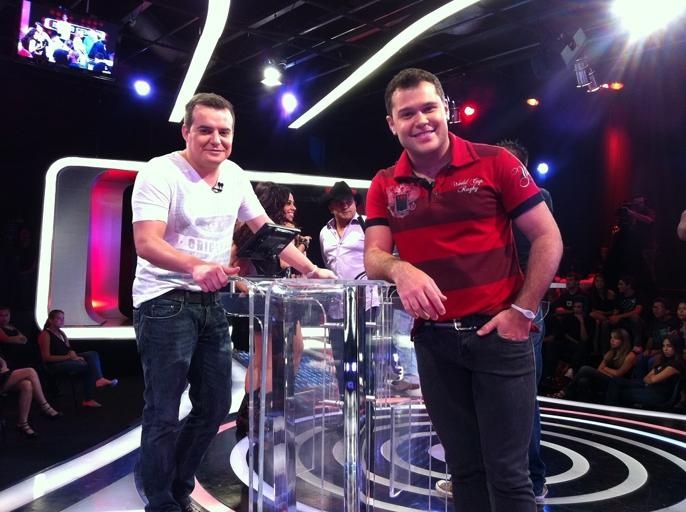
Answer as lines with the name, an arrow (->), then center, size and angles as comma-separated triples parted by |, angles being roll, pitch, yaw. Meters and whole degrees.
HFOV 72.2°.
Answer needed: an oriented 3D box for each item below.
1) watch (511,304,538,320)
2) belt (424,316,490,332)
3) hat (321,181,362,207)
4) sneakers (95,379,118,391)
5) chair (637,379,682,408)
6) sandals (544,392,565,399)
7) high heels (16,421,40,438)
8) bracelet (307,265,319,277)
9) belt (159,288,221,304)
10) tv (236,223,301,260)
watch -> 0.726, 0.229, 1.892 | 0.072, 0.026, 0.062 | 38, 6, 26
belt -> 0.466, 0.279, 1.938 | 0.260, 0.065, 0.053 | -1, -4, 8
hat -> -0.036, -0.650, 4.748 | 0.319, 0.154, 0.389 | -1, -12, -1
sneakers -> -3.824, 2.068, 7.556 | 0.358, 0.143, 0.129 | -13, -7, 10
chair -> 3.712, 1.632, 5.527 | 0.367, 0.393, 0.340 | 1, -8, 26
sandals -> 2.877, 1.888, 6.358 | 0.213, 0.074, 0.117 | 1, -6, -8
high heels -> -3.299, 1.819, 4.918 | 0.261, 0.142, 0.094 | -3, -10, 40
bracelet -> -0.179, 0.089, 2.897 | 0.026, 0.073, 0.053 | 39, 26, -9
belt -> -0.845, 0.232, 2.596 | 0.305, 0.092, 0.076 | 1, -4, -20
tv -> -0.418, -0.061, 2.596 | 0.211, 0.060, 0.308 | 13, -35, -37
